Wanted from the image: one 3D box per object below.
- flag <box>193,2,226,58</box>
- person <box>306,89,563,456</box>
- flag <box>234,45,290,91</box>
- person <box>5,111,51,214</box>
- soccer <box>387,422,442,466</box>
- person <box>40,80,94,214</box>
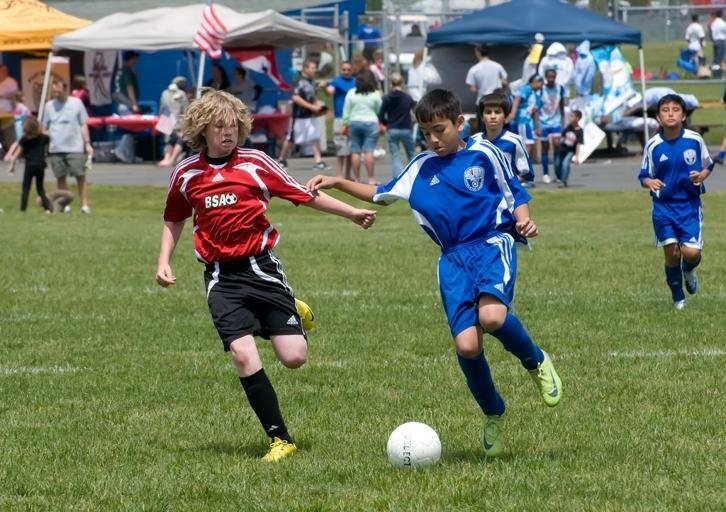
[{"bbox_3d":[-2.565,-3.837,21.044,0.555,0.942,0.787,-1,1,-7],"label":"flag"},{"bbox_3d":[0.853,0.135,11.387,1.407,3.319,0.588,-1,1,-1],"label":"person"},{"bbox_3d":[-2.078,-4.000,25.404,0.684,1.042,0.693,11,21,19],"label":"flag"},{"bbox_3d":[-5.049,-1.401,19.011,0.602,1.421,1.461,-1,1,-15],"label":"person"},{"bbox_3d":[0.464,1.703,11.241,0.343,0.222,0.681,12,13,33],"label":"soccer"},{"bbox_3d":[-4.502,-1.729,19.088,0.654,1.983,0.639,-3,7,-4],"label":"person"}]
